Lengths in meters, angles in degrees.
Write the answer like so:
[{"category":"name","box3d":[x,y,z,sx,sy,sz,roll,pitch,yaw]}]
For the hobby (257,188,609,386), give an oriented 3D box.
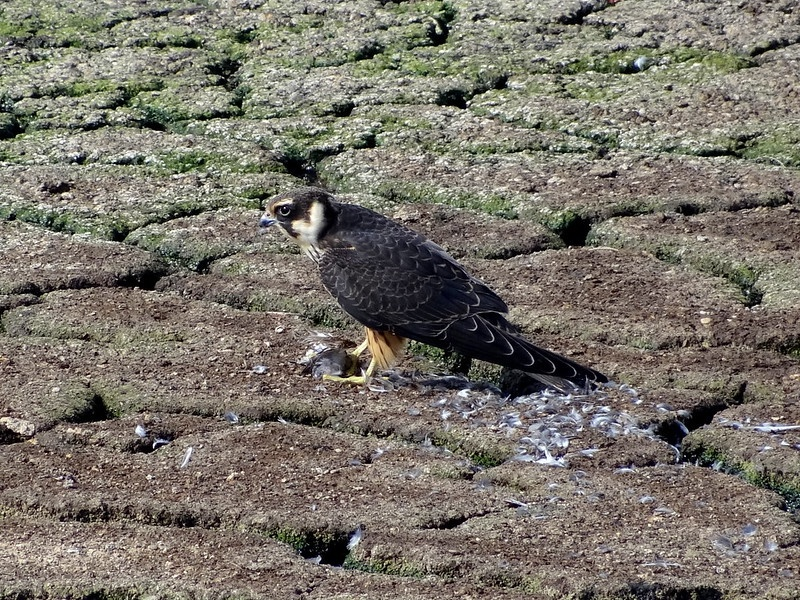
[{"category":"hobby","box3d":[0.102,-0.079,16.131,3.107,1.617,0.937,16,37,39]}]
